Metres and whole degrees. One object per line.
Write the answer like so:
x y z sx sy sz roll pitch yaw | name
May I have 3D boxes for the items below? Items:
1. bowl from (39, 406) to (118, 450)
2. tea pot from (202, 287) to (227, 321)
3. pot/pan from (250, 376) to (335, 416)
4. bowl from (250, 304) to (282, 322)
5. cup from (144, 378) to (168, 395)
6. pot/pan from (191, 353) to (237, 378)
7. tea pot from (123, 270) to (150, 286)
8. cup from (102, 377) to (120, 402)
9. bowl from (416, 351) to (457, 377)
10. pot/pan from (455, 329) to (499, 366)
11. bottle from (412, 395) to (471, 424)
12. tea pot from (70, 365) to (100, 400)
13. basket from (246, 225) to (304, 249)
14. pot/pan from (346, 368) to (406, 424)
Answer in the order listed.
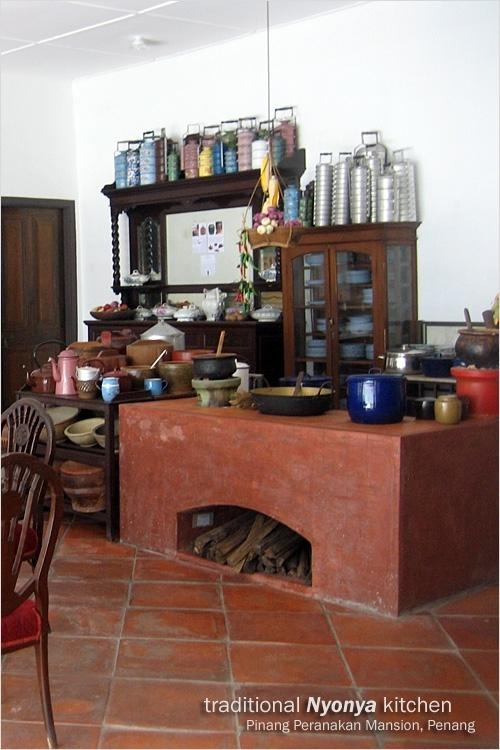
-0.897 0.268 3.227 0.290 0.087 0.323 5 7 36 | bowl
-0.298 -0.532 4.722 0.204 0.270 0.234 -1 5 -40 | tea pot
0.145 0.095 2.490 0.273 0.117 0.385 -1 2 -16 | pot/pan
0.103 -0.421 4.433 0.227 0.122 0.196 0 2 13 | bowl
-0.462 0.057 3.089 0.063 0.074 0.101 -3 -7 38 | cup
-0.159 -0.035 2.754 0.174 0.107 0.170 0 2 15 | pot/pan
-0.981 -0.826 5.486 0.169 0.104 0.143 0 0 42 | tea pot
-0.647 0.070 2.925 0.086 0.114 0.100 -1 2 -5 | cup
0.847 -0.032 2.845 0.142 0.093 0.111 -1 2 -5 | bowl
0.803 -0.096 2.231 0.136 0.141 0.133 0 2 19 | pot/pan
0.653 0.111 2.179 0.160 0.059 0.099 3 3 21 | bottle
-0.772 0.033 3.010 0.123 0.141 0.145 -1 -3 12 | tea pot
0.093 -0.653 2.994 0.220 0.100 0.305 -2 2 -31 | basket
0.445 0.072 2.229 0.172 0.157 0.174 -1 -1 10 | pot/pan
